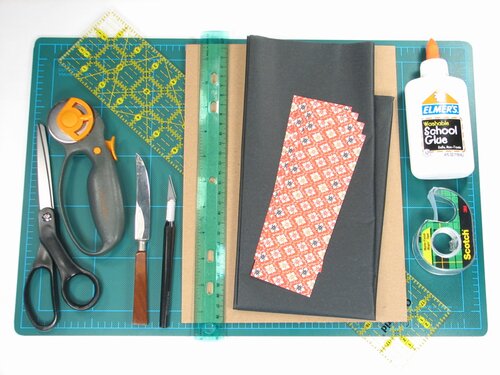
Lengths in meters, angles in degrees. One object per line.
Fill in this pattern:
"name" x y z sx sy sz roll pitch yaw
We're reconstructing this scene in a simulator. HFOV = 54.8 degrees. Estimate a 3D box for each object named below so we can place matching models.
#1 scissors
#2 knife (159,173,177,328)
"scissors" -0.618 0.094 1.528 0.259 0.033 0.682 -9 90 3
"knife" -0.247 0.210 1.524 0.045 0.034 0.430 2 82 8
